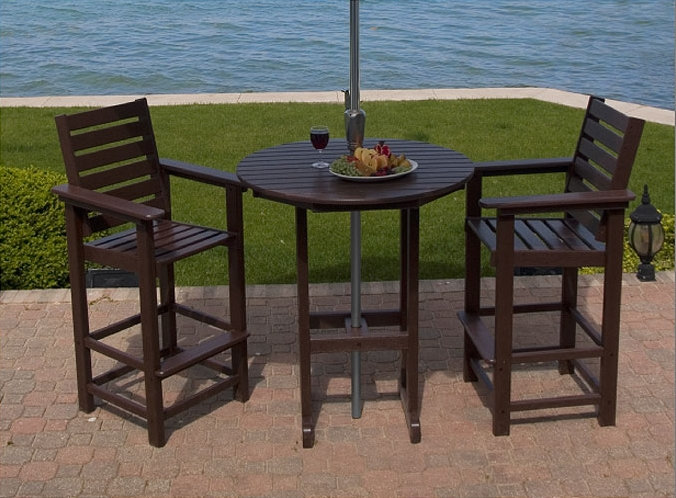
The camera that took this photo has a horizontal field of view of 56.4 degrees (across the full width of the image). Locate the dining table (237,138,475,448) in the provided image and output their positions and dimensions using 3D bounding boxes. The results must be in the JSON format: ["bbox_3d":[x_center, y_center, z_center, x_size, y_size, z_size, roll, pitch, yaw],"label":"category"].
[{"bbox_3d":[0.150,0.121,4.216,1.818,1.798,1.617,-2,24,-1],"label":"dining table"}]

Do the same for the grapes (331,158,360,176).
[{"bbox_3d":[0.028,-0.458,3.484,0.124,0.045,0.128,-10,24,-26],"label":"grapes"}]
